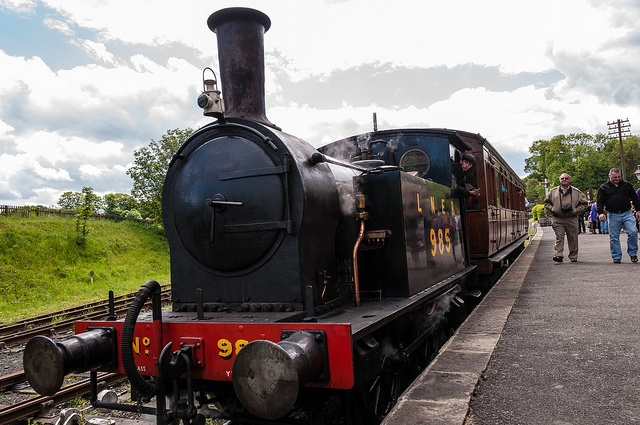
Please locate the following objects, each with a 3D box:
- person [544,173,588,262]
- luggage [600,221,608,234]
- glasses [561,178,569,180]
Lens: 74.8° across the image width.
[{"bbox_3d":[6.169,0.172,10.579,0.903,1.900,0.721,-2,0,19],"label":"person"},{"bbox_3d":[12.923,0.714,19.218,0.402,0.431,1.465,11,6,32],"label":"luggage"},{"bbox_3d":[6.035,-0.835,10.389,0.165,0.042,0.145,-3,-1,26],"label":"glasses"}]
